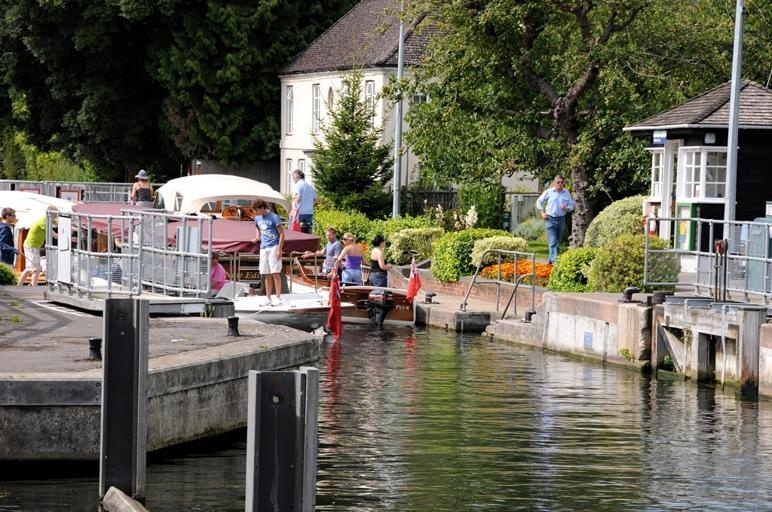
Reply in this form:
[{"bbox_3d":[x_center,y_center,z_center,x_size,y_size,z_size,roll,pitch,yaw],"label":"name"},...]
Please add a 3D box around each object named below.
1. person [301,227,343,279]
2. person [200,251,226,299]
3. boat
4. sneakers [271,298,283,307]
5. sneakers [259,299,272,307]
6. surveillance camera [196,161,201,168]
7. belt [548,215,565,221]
[{"bbox_3d":[-1.655,0.104,51.068,0.901,1.899,0.894,-1,2,-19],"label":"person"},{"bbox_3d":[-4.363,0.349,45.775,0.726,1.068,0.810,6,7,20],"label":"person"},{"bbox_3d":[-7.467,-0.374,50.505,14.309,4.113,11.853,2,2,27],"label":"boat"},{"bbox_3d":[-2.776,1.112,47.446,0.164,0.200,0.461,0,-4,4],"label":"sneakers"},{"bbox_3d":[-3.025,1.133,47.242,0.350,0.253,0.133,3,1,18],"label":"sneakers"},{"bbox_3d":[-7.906,-4.046,78.565,0.291,0.262,0.097,0,2,-44],"label":"surveillance camera"},{"bbox_3d":[4.691,-1.126,51.257,0.478,0.167,0.223,2,2,5],"label":"belt"}]
